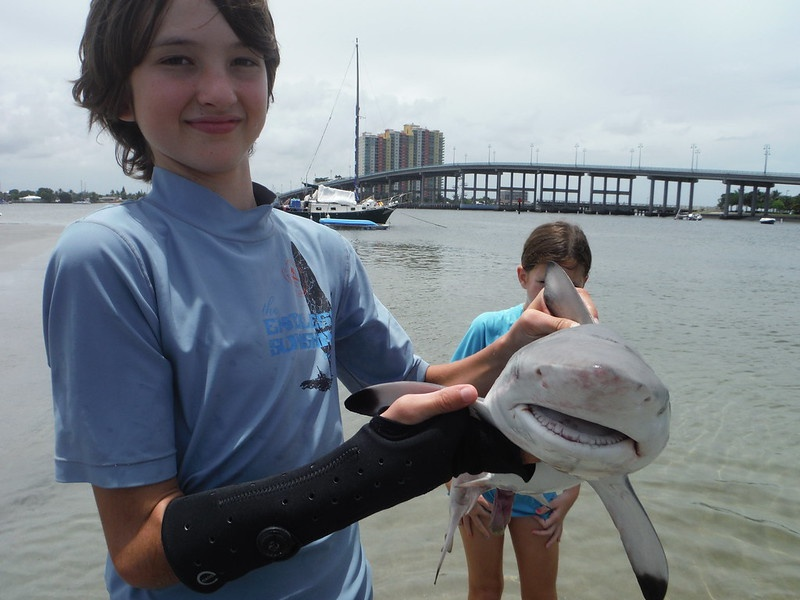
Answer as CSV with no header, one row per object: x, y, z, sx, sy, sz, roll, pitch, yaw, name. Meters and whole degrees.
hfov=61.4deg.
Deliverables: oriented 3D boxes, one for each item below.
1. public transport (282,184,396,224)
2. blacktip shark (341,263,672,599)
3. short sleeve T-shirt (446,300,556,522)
-5.043,-7.385,50.763,9.519,3.099,2.494,3,26,17,public transport
0.400,0.519,2.408,0.850,0.771,1.279,20,-21,-10,blacktip shark
0.642,0.674,4.117,0.662,1.292,0.543,6,4,26,short sleeve T-shirt
